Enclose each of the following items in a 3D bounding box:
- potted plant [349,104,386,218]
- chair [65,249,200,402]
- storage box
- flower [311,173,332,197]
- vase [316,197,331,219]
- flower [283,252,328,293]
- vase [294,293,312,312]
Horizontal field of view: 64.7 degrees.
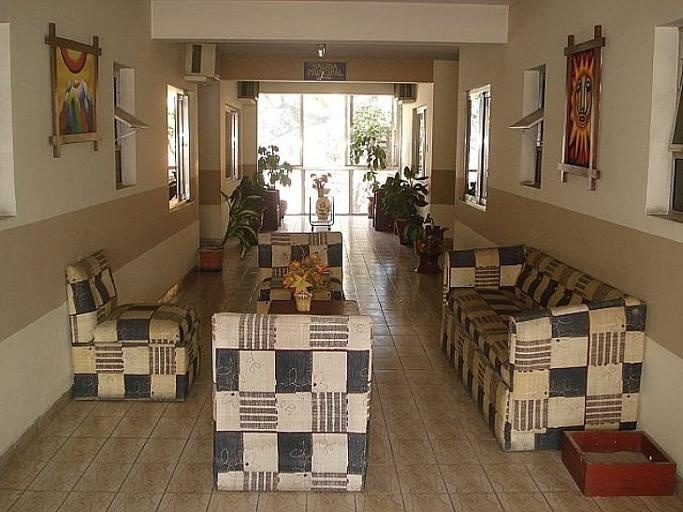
[{"bbox_3d":[0.655,-2.591,13.532,0.796,2.318,1.263,-8,14,-38],"label":"potted plant"},{"bbox_3d":[-1.694,0.411,4.585,0.926,1.238,1.127,0,7,-6],"label":"chair"},{"bbox_3d":[1.655,1.238,3.175,0.349,0.127,0.365,-1,7,-5],"label":"storage box"},{"bbox_3d":[-0.525,-1.662,12.618,0.632,0.735,0.684,-1,5,-8],"label":"flower"},{"bbox_3d":[-0.465,-1.098,12.247,0.360,0.577,0.317,7,20,14],"label":"vase"},{"bbox_3d":[-0.303,0.157,4.263,0.341,0.281,0.243,-9,15,-40],"label":"flower"},{"bbox_3d":[-0.323,0.362,4.340,0.134,0.155,0.135,-3,8,-22],"label":"vase"}]
